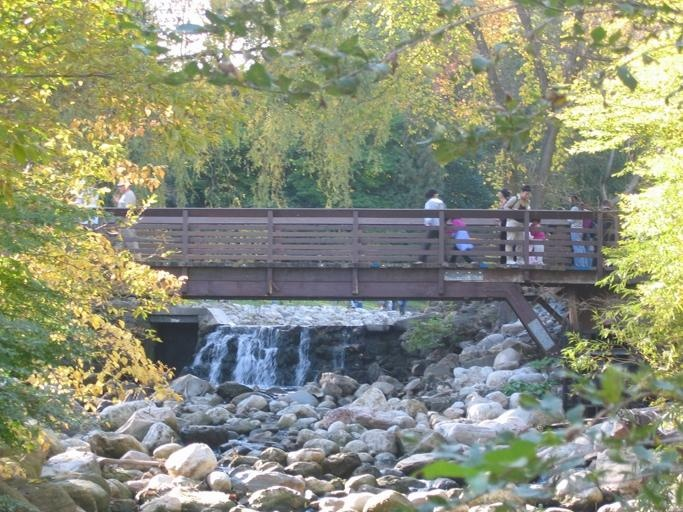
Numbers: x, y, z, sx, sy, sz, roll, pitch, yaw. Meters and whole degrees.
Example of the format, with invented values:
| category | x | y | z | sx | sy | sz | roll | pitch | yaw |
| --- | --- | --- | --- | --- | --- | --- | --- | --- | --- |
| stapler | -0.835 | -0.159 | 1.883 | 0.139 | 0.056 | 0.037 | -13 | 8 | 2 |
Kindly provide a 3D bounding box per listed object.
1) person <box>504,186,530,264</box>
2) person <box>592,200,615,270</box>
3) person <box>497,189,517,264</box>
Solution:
| category | x | y | z | sx | sy | sz | roll | pitch | yaw |
| --- | --- | --- | --- | --- | --- | --- | --- | --- | --- |
| person | 2.730 | -0.479 | 16.991 | 0.515 | 1.193 | 0.423 | 2 | 2 | -20 |
| person | 3.968 | -0.383 | 16.680 | 0.342 | 0.967 | 1.765 | -3 | -1 | 13 |
| person | 2.513 | -0.496 | 17.320 | 0.422 | 1.119 | 0.343 | -4 | 2 | -15 |
